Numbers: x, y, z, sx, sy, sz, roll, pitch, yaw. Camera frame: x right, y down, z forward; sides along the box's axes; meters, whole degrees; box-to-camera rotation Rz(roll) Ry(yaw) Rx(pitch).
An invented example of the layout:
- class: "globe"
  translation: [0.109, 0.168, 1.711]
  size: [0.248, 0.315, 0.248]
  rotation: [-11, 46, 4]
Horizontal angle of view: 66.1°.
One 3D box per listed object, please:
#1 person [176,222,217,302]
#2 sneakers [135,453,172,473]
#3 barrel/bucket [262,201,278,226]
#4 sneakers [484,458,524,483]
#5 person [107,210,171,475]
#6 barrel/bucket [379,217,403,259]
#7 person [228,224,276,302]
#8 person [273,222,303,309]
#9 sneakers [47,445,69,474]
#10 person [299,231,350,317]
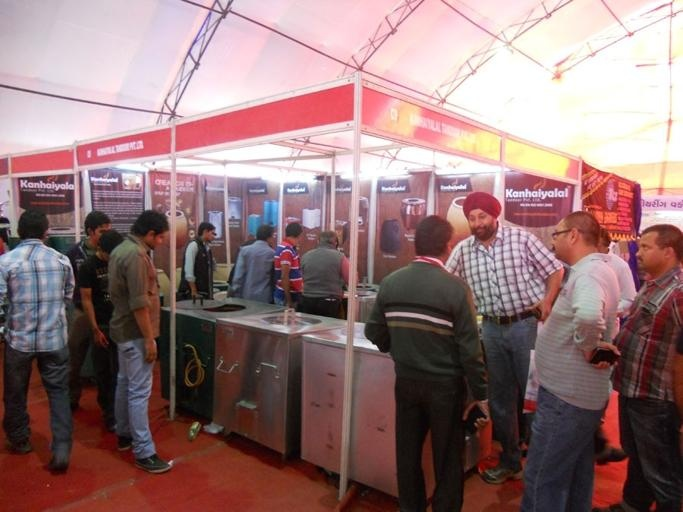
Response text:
- class: "person"
  translation: [-2.007, 0.082, 7.143]
  size: [0.493, 1.043, 0.374]
  rotation: [0, 6, -9]
- class: "sneakers"
  translation: [-1.679, 1.862, 4.765]
  size: [0.336, 0.155, 0.138]
  rotation: [4, -4, 12]
- class: "barrel/bucket"
  translation: [-1.211, -0.754, 9.118]
  size: [0.382, 0.442, 0.134]
  rotation: [7, 9, 40]
- class: "sneakers"
  translation: [1.420, 1.953, 4.784]
  size: [0.378, 0.207, 0.149]
  rotation: [2, -6, -5]
- class: "person"
  translation: [-1.832, 0.759, 4.748]
  size: [0.494, 2.323, 0.496]
  rotation: [-2, 7, -22]
- class: "barrel/bucket"
  translation: [0.735, -0.302, 8.341]
  size: [0.392, 0.659, 0.370]
  rotation: [2, 5, 0]
- class: "person"
  translation: [-1.143, 0.370, 6.898]
  size: [0.551, 1.498, 0.385]
  rotation: [9, 12, 1]
- class: "person"
  translation: [-0.688, 0.124, 6.600]
  size: [0.335, 1.113, 0.622]
  rotation: [0, 7, -7]
- class: "sneakers"
  translation: [-2.524, 1.825, 4.704]
  size: [0.111, 0.323, 0.132]
  rotation: [12, 12, -19]
- class: "person"
  translation: [-0.219, 0.205, 6.167]
  size: [0.533, 0.984, 0.285]
  rotation: [0, 6, -4]
